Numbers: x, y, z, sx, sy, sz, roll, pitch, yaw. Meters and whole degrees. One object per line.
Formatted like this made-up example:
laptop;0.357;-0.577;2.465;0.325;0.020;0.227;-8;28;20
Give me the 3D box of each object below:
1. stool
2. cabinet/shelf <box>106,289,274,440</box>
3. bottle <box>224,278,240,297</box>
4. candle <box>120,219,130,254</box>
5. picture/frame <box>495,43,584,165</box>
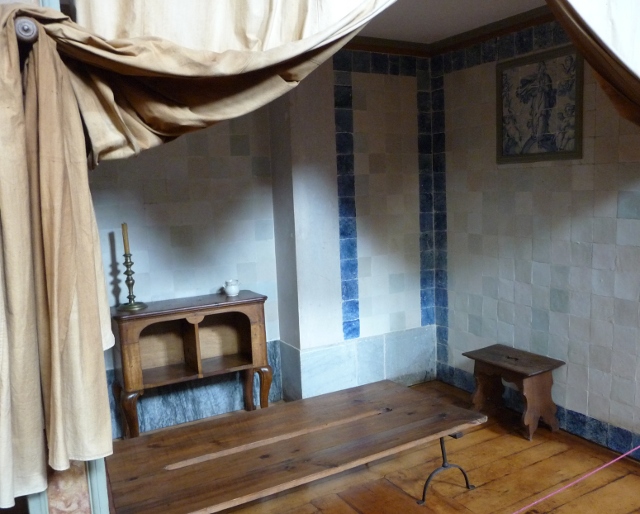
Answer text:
stool;1.313;0.903;3.781;0.326;0.470;0.627;-6;5;-22
cabinet/shelf;-0.885;0.680;3.634;1.037;0.989;0.446;-4;5;-31
bottle;-0.625;0.215;3.958;0.105;0.106;0.107;3;7;20
candle;-1.267;-0.129;3.613;0.049;0.201;0.320;-4;8;-18
picture/frame;1.460;-1.010;3.630;0.060;0.912;0.850;-3;4;-32
